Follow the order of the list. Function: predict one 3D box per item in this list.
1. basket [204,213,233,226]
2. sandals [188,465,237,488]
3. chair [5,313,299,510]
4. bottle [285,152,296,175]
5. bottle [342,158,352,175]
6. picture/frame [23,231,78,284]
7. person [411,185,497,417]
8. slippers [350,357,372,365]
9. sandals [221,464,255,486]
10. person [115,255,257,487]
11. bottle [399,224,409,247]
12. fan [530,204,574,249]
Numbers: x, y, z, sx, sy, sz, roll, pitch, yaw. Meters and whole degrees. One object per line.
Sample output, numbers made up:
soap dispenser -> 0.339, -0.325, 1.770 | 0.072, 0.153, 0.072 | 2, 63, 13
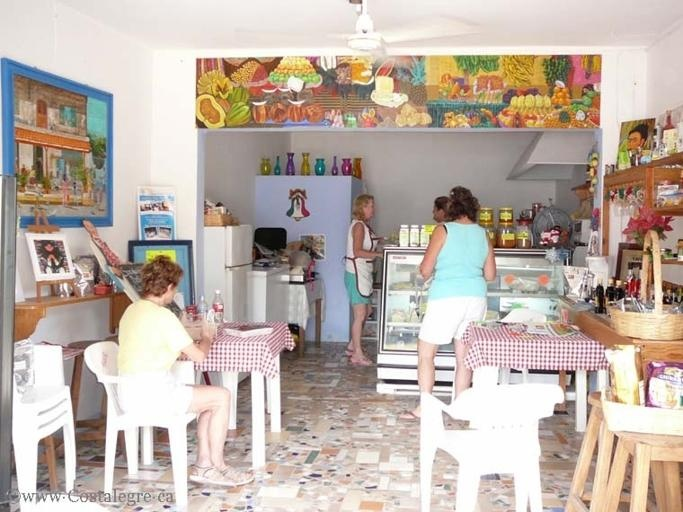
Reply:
basket -> -1.253, -0.376, 5.914 | 0.340, 0.136, 0.225 | -2, 5, -26
sandals -> -0.825, 1.423, 3.727 | 0.343, 0.132, 0.127 | 3, 1, 1
chair -> -1.106, 0.841, 3.839 | 1.024, 0.921, 1.249 | 0, 1, 16
bottle -> -0.728, -1.312, 8.125 | 0.111, 0.334, 0.327 | -1, 5, -10
bottle -> 0.082, -1.263, 8.092 | 0.146, 0.249, 0.376 | 0, 4, 0
picture/frame -> -2.083, 0.004, 4.137 | 0.166, 0.347, 0.390 | 2, 5, 27
person -> 0.922, 0.374, 4.753 | 0.659, 1.879, 0.606 | 2, -3, -13
slippers -> 0.235, 1.226, 6.675 | 0.175, 0.045, 0.094 | -5, -4, 39
sandals -> -0.654, 1.436, 3.720 | 0.230, 0.090, 0.092 | 3, 1, -2
person -> -1.038, 0.750, 3.820 | 0.765, 1.515, 0.631 | 0, 0, -11
bottle -> 0.634, -0.202, 5.665 | 0.098, 0.209, 0.156 | 0, 5, 5
fan -> 2.321, -0.334, 6.253 | 0.425, 0.458, 1.159 | 2, 5, 19
